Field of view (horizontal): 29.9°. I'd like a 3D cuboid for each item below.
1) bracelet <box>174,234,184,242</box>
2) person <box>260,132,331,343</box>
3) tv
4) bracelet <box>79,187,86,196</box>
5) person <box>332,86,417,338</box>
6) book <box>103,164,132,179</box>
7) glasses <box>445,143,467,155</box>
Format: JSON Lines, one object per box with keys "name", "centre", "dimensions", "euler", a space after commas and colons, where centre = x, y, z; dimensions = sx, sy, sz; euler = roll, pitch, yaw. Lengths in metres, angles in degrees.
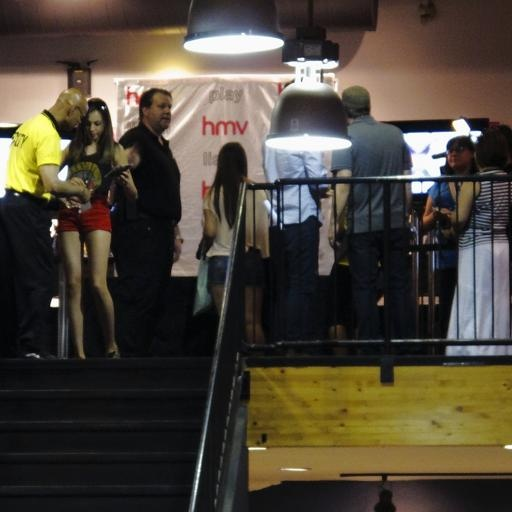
{"name": "bracelet", "centre": [-0.580, -0.137, 7.139], "dimensions": [0.057, 0.039, 0.077], "euler": [4, -31, 0]}
{"name": "person", "centre": [0.253, -0.083, 6.230], "dimensions": [0.429, 1.309, 0.855], "euler": [0, 3, 1]}
{"name": "tv", "centre": [1.640, -0.812, 9.353], "dimensions": [0.933, 0.951, 0.558], "euler": [4, -17, 4]}
{"name": "bracelet", "centre": [-1.063, -0.404, 5.892], "dimensions": [0.026, 0.037, 0.034], "euler": [3, -29, -16]}
{"name": "person", "centre": [0.717, -0.289, 6.067], "dimensions": [0.525, 1.620, 0.654], "euler": [0, 3, 6]}
{"name": "book", "centre": [-0.862, -0.529, 5.988], "dimensions": [0.089, 0.023, 0.098], "euler": [-33, -13, 30]}
{"name": "glasses", "centre": [1.376, -0.743, 6.615], "dimensions": [0.080, 0.065, 0.113], "euler": [-1, -10, 9]}
